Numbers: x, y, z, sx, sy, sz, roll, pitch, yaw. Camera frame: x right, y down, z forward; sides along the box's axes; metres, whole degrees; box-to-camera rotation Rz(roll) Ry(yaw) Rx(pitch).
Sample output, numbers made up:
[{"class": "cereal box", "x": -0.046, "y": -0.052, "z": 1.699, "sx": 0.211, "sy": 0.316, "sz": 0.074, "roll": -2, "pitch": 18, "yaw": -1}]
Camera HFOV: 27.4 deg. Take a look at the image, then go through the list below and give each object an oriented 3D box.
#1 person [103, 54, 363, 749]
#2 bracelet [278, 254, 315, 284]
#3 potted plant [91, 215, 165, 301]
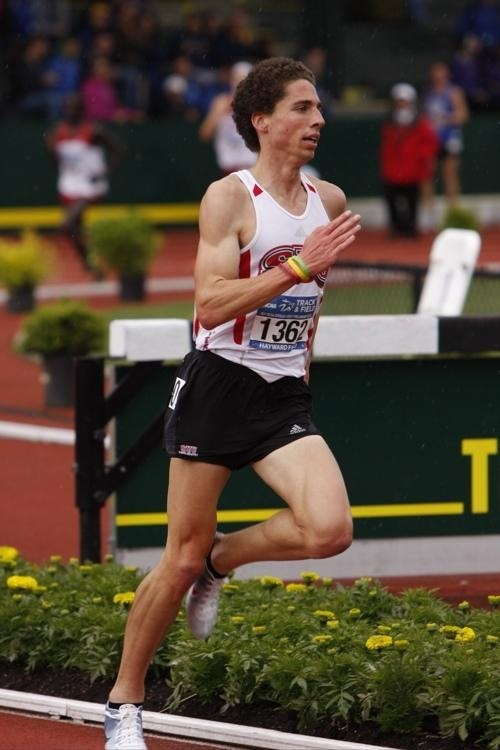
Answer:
[{"class": "person", "x": 0.005, "y": 0.100, "z": 2.777, "sx": 0.606, "sy": 1.898, "sz": 0.783, "roll": 5, "pitch": 14, "yaw": 9}, {"class": "bracelet", "x": 0.115, "y": -0.255, "z": 2.496, "sx": 0.044, "sy": 0.052, "sz": 0.072, "roll": -36, "pitch": -20, "yaw": 7}, {"class": "potted plant", "x": -0.719, "y": -0.716, "z": 5.908, "sx": 0.348, "sy": 0.376, "sz": 0.270, "roll": -3, "pitch": 20, "yaw": -3}]
